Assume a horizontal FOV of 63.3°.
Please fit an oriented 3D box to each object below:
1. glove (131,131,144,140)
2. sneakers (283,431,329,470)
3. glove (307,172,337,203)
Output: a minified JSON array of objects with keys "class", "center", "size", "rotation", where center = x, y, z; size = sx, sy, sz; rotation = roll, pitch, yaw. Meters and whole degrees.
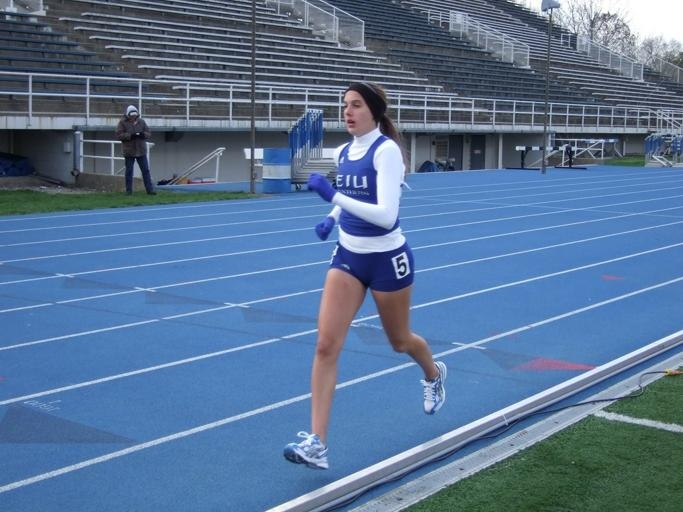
[{"class":"glove","center":[-5.191,-3.051,14.011],"size":[0.290,0.164,0.149],"rotation":[-1,8,-20]},{"class":"sneakers","center":[-0.210,0.911,2.595],"size":[0.264,0.160,0.125],"rotation":[28,-32,-30]},{"class":"glove","center":[-0.096,-0.329,2.666],"size":[0.131,0.135,0.250],"rotation":[2,8,-1]}]
